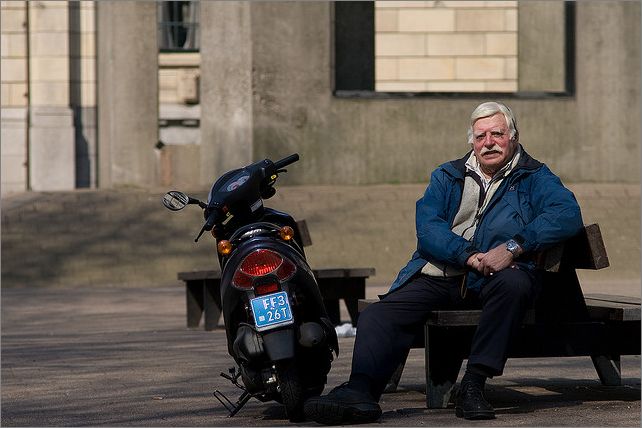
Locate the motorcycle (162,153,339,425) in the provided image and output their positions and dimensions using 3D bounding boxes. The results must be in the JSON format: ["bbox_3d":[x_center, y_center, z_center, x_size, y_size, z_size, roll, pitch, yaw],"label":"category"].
[{"bbox_3d":[-0.946,1.368,27.263,2.140,4.486,1.109,0,8,-1],"label":"motorcycle"}]
